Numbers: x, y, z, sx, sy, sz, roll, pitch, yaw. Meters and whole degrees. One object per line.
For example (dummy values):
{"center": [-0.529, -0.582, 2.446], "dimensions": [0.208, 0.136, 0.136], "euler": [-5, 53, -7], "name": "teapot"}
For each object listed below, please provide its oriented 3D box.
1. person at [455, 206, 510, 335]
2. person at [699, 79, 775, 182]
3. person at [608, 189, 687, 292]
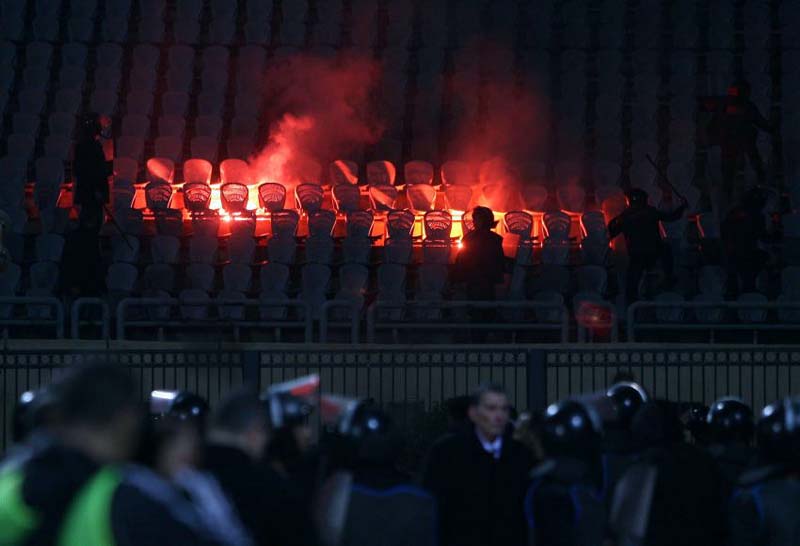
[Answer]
{"center": [1.404, -0.302, 25.711], "dimensions": [0.932, 1.793, 0.352], "euler": [1, -13, 0], "name": "person"}
{"center": [7.236, -3.030, 30.646], "dimensions": [1.450, 2.384, 0.883], "euler": [-2, -14, 12], "name": "person"}
{"center": [4.438, -0.448, 26.174], "dimensions": [1.252, 2.078, 0.478], "euler": [-1, -14, 6], "name": "person"}
